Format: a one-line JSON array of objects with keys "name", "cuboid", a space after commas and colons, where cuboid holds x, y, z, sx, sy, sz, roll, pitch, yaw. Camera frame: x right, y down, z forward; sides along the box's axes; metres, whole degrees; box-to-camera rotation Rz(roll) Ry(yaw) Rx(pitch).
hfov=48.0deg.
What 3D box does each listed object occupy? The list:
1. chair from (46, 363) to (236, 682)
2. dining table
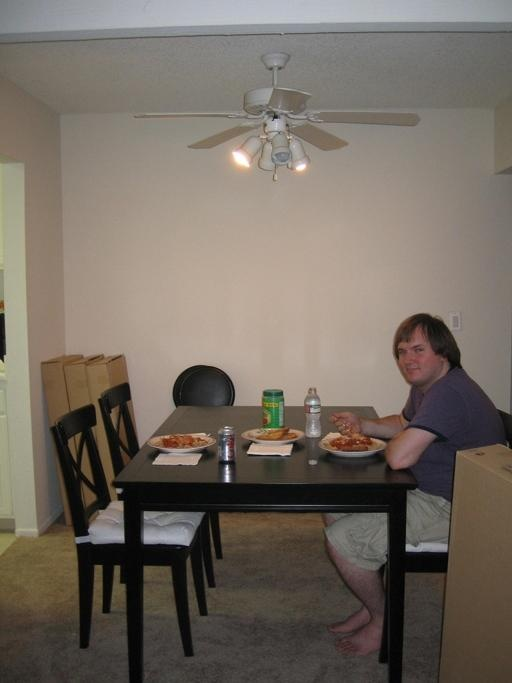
[{"name": "chair", "cuboid": [-0.468, 0.716, 2.196, 0.338, 0.592, 0.916, 0, 5, 2]}, {"name": "dining table", "cuboid": [0.003, 0.692, 2.063, 0.839, 0.708, 1.021, -1, 2, -3]}]
